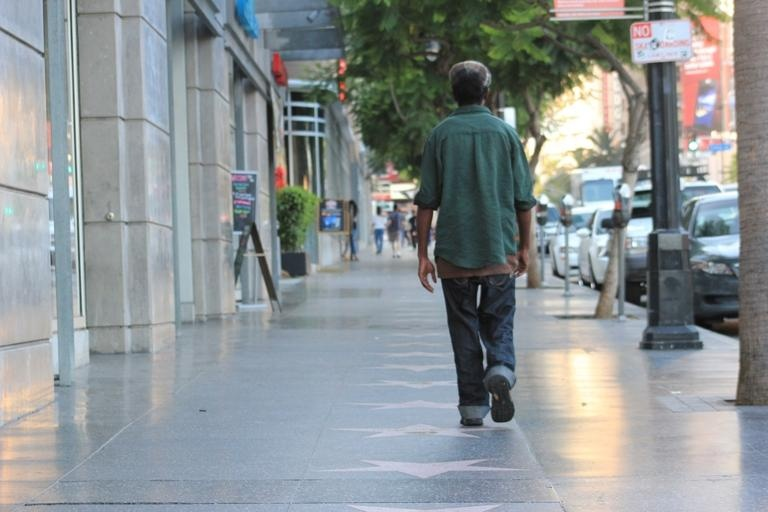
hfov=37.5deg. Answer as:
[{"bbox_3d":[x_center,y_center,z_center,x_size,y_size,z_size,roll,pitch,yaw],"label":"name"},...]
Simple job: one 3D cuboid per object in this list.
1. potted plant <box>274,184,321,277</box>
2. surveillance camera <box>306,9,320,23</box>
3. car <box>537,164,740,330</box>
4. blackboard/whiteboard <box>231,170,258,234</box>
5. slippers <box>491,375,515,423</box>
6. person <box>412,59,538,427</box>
[{"bbox_3d":[-1.805,-0.756,27.115,1.341,2.257,1.047,-9,-7,27],"label":"potted plant"},{"bbox_3d":[-1.188,-4.070,19.208,0.057,0.130,0.226,-18,-18,-39],"label":"surveillance camera"},{"bbox_3d":[5.000,-0.383,21.695,2.258,1.743,3.666,0,-7,1],"label":"car"},{"bbox_3d":[-2.285,-0.922,18.764,0.428,0.907,0.610,-4,1,-6],"label":"blackboard/whiteboard"},{"bbox_3d":[0.970,1.118,9.045,0.170,0.386,0.180,-4,6,8],"label":"slippers"},{"bbox_3d":[0.770,-0.114,9.233,0.980,2.379,0.614,-3,1,1],"label":"person"}]
